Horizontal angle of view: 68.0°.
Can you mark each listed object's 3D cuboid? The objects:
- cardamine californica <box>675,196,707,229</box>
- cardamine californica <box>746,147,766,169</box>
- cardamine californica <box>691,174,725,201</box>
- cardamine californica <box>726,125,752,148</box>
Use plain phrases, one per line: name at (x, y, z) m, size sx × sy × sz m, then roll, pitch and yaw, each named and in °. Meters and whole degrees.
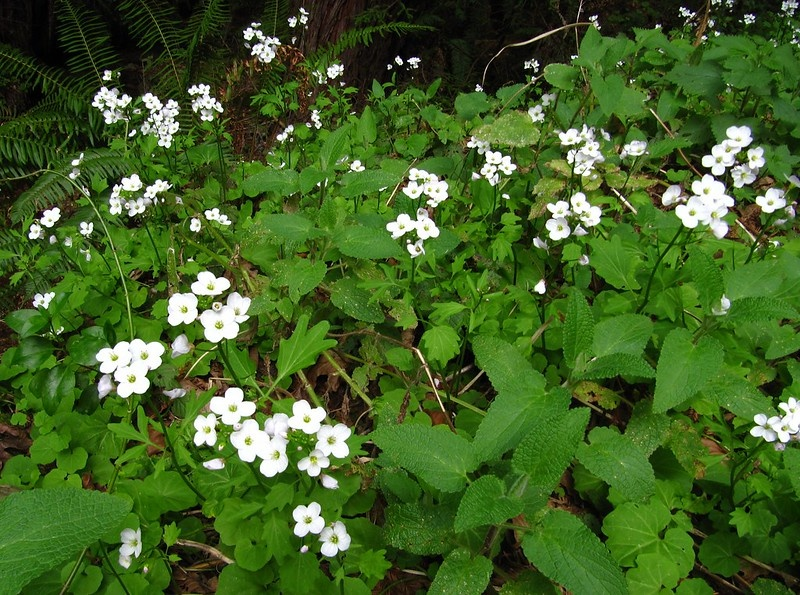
cardamine californica at (1.572, -0.455, 3.200) m, size 0.134 × 0.181 × 0.168 m, roll 10°, pitch 27°, yaw 39°
cardamine californica at (2.219, -0.893, 3.708) m, size 0.092 × 0.139 × 0.240 m, roll 5°, pitch 25°, yaw 30°
cardamine californica at (1.682, -0.621, 3.270) m, size 0.182 × 0.131 × 0.103 m, roll -14°, pitch 21°, yaw -12°
cardamine californica at (2.095, -0.995, 3.686) m, size 0.125 × 0.169 × 0.317 m, roll 6°, pitch 26°, yaw 32°
